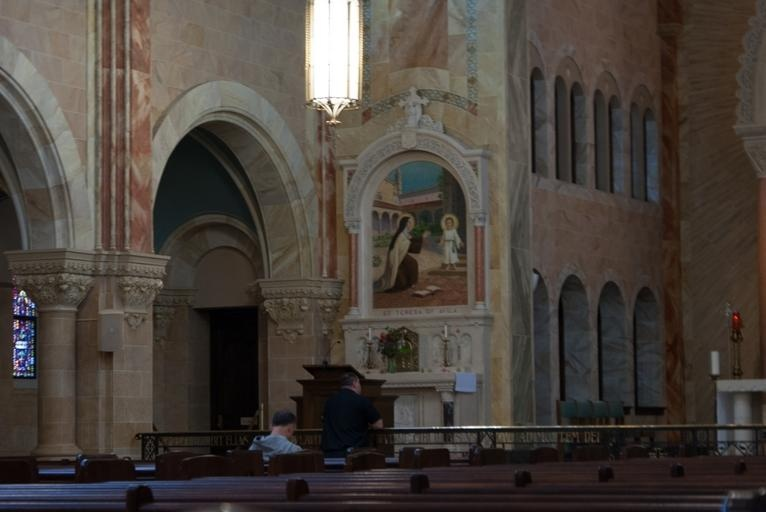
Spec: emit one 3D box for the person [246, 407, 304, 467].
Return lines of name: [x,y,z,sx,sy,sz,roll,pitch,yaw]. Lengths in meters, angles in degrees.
person: [-1.529,2.552,28.326,1.049,0.766,0.596,-3,-15,43]

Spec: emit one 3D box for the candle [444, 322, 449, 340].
candle: [1.142,1.338,35.454,0.076,0.284,0.170,-4,-13,14]

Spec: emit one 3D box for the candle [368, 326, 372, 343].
candle: [-0.254,1.415,35.981,0.096,0.255,0.252,-2,-12,3]
